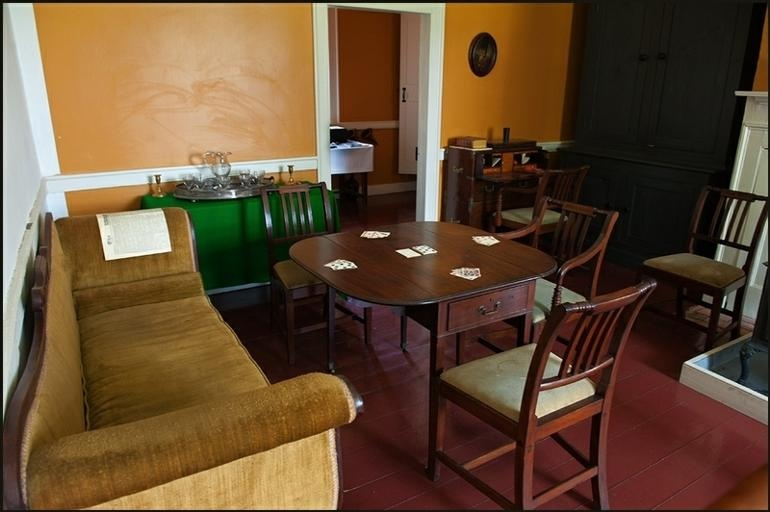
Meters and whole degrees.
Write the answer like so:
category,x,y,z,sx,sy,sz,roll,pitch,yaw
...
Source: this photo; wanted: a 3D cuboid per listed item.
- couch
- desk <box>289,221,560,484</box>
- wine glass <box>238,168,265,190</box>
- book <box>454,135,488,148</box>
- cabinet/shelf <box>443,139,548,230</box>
category,x,y,z,sx,sy,sz,roll,pitch,yaw
couch,-0.915,0.430,2.354,0.586,0.648,1.483,-8,25,-29
desk,0.158,0.580,3.343,1.470,1.009,1.347,-12,23,-30
wine glass,-1.073,-0.625,4.123,0.225,0.095,0.219,10,22,23
book,0.861,-1.129,5.110,0.309,0.112,0.234,-2,18,9
cabinet/shelf,1.180,-0.796,5.452,1.167,0.991,0.879,-11,22,-27
